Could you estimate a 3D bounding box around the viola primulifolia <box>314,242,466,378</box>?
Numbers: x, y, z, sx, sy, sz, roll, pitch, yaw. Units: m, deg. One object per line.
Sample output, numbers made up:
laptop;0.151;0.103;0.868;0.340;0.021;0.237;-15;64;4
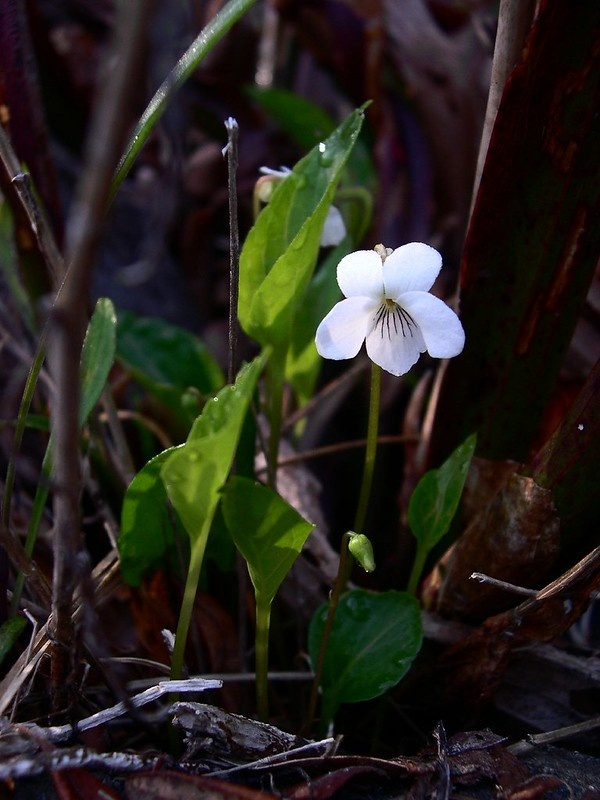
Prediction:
viola primulifolia;0.052;-0.057;0.427;0.072;0.084;0.038;8;13;13
